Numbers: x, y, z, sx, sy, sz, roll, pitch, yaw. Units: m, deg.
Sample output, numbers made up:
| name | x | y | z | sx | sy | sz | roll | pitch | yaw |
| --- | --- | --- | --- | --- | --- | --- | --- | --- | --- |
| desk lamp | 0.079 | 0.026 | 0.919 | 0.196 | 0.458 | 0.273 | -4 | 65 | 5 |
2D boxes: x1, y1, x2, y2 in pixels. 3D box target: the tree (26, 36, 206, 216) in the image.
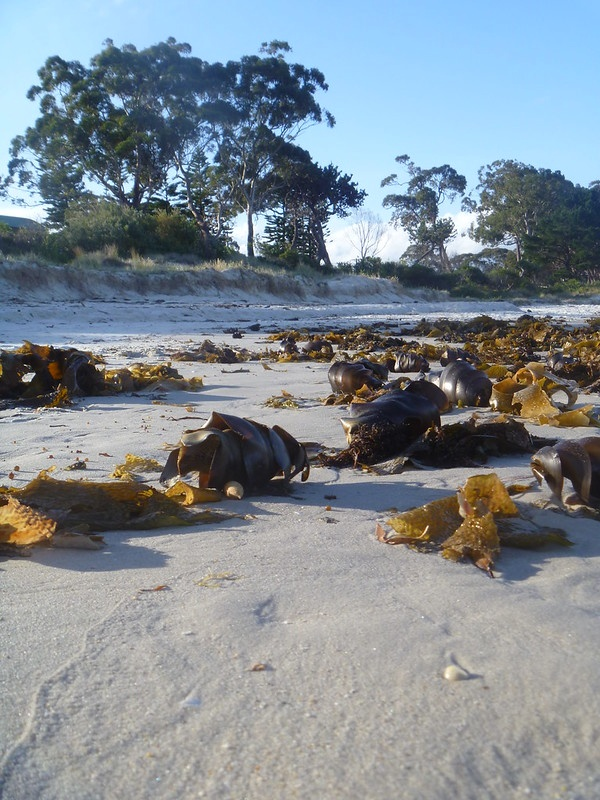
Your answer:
| name | x | y | z | sx | sy | sz | roll | pitch | yaw |
| --- | --- | --- | --- | --- | --- | --- | --- | --- | --- |
| tree | -8.163 | -13.185 | 32.035 | 6.603 | 7.523 | 3.307 | 2 | 9 | 15 |
